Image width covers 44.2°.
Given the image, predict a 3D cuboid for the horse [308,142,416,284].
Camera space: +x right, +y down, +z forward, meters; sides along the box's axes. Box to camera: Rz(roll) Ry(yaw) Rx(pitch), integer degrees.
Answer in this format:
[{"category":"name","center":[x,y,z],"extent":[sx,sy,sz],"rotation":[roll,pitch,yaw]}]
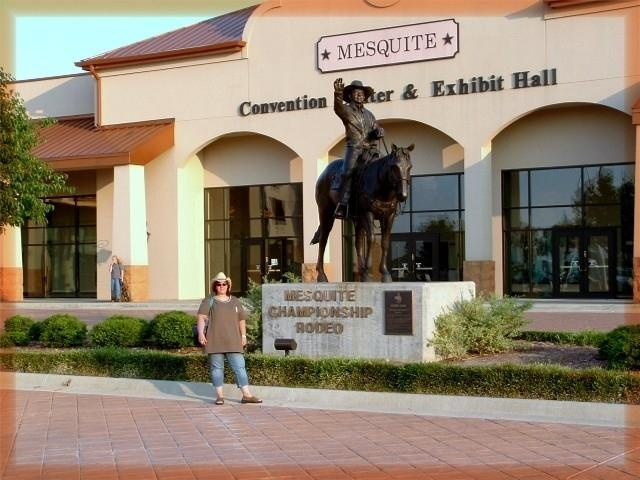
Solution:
[{"category":"horse","center":[0.904,-0.530,17.179],"extent":[0.973,3.075,3.888],"rotation":[0,1,-28]}]

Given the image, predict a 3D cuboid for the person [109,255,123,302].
[{"category":"person","center":[-8.611,1.667,33.644],"extent":[0.411,1.960,0.754],"rotation":[-1,-5,19]}]

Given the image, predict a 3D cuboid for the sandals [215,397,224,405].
[{"category":"sandals","center":[-1.724,2.800,13.675],"extent":[0.173,0.117,0.220],"rotation":[1,-5,-10]}]

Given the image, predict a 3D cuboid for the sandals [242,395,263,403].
[{"category":"sandals","center":[-1.179,2.787,13.700],"extent":[0.308,0.144,0.134],"rotation":[-1,-5,2]}]

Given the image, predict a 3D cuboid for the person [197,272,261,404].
[{"category":"person","center":[-1.638,1.738,14.015],"extent":[1.030,2.285,0.732],"rotation":[0,-4,-5]}]
